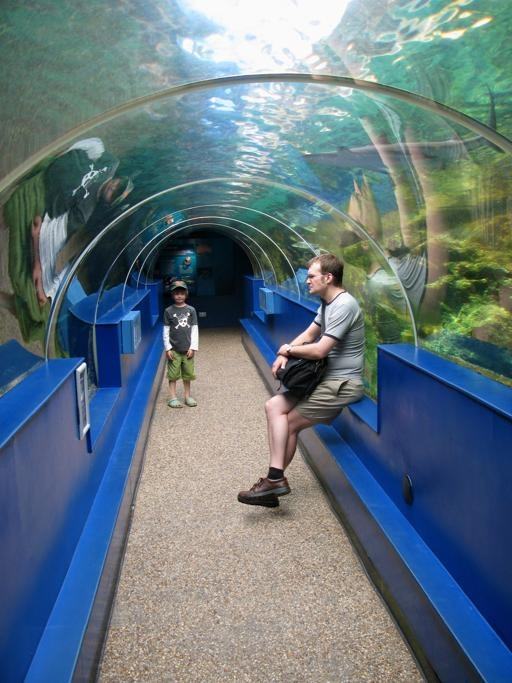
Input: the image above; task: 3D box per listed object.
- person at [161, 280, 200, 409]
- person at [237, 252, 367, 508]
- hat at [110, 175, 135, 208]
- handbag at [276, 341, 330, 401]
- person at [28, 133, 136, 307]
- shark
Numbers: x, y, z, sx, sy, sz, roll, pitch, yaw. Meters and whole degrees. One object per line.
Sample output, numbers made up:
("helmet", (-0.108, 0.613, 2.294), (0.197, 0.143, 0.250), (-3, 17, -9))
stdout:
("person", (-1.152, 0.003, 6.970), (0.575, 1.986, 0.524), (0, -10, -8))
("person", (0.329, 0.305, 3.917), (1.097, 2.116, 0.901), (-1, 2, -23))
("hat", (-1.138, -1.351, 3.899), (0.207, 0.229, 0.091), (9, -2, 35))
("handbag", (0.335, 0.252, 3.688), (0.313, 0.383, 0.338), (-2, 15, -28))
("person", (-1.174, -0.793, 3.071), (0.527, 1.034, 1.785), (-4, 7, -8))
("shark", (0.785, -1.342, 2.887), (0.319, 0.337, 1.203), (-17, 21, -39))
